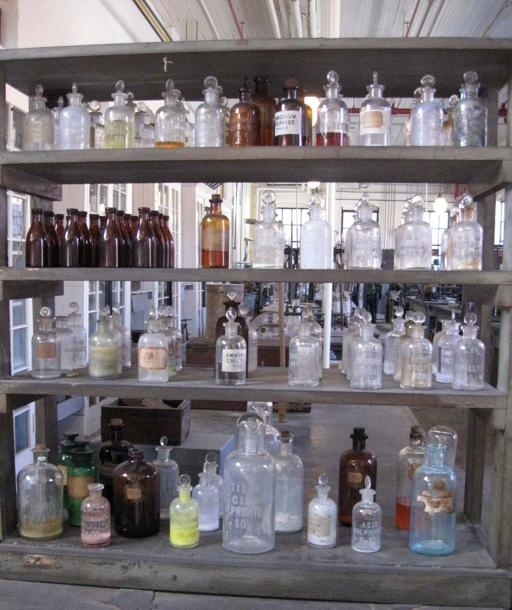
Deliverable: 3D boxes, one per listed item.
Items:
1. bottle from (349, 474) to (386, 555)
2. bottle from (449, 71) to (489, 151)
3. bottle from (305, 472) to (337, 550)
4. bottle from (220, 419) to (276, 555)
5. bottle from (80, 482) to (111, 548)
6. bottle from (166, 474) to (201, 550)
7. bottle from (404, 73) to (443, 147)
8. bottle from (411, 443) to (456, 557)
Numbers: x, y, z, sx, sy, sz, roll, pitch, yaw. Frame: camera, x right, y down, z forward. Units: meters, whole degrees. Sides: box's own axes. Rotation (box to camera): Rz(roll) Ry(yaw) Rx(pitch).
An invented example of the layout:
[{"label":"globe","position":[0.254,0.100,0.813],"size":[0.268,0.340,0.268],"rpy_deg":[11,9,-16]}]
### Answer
[{"label":"bottle","position":[0.340,0.635,2.331],"size":[0.094,0.228,0.122],"rpy_deg":[-1,3,8]},{"label":"bottle","position":[0.660,-0.602,2.352],"size":[0.114,0.257,0.271],"rpy_deg":[0,3,17]},{"label":"bottle","position":[0.205,0.622,2.336],"size":[0.093,0.240,0.169],"rpy_deg":[-1,3,4]},{"label":"bottle","position":[-0.025,0.545,2.306],"size":[0.156,0.415,0.072],"rpy_deg":[-1,2,-1]},{"label":"bottle","position":[-0.497,0.651,2.354],"size":[0.088,0.192,0.062],"rpy_deg":[-2,3,-17]},{"label":"bottle","position":[-0.212,0.635,2.360],"size":[0.112,0.222,0.090],"rpy_deg":[-2,3,-29]},{"label":"bottle","position":[0.534,-0.609,2.384],"size":[0.113,0.258,0.287],"rpy_deg":[0,3,13]},{"label":"bottle","position":[0.537,0.592,2.301],"size":[0.137,0.334,0.070],"rpy_deg":[0,3,11]}]
